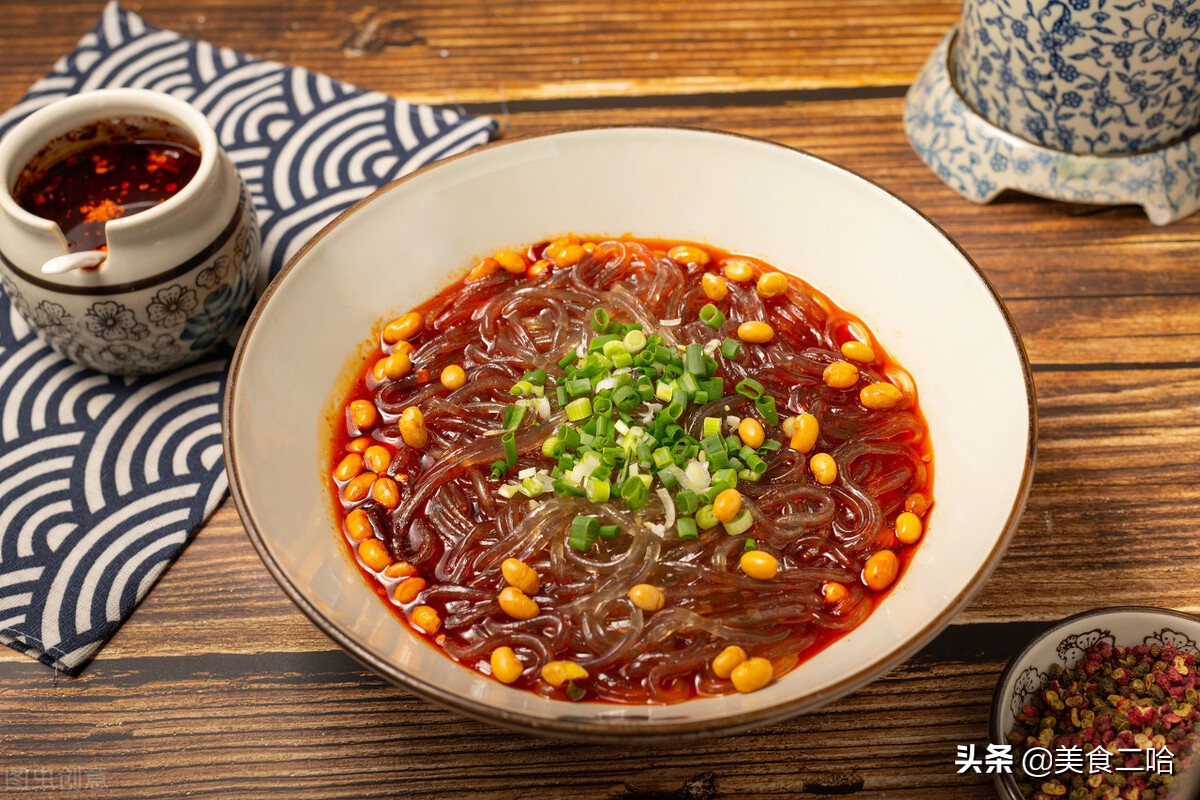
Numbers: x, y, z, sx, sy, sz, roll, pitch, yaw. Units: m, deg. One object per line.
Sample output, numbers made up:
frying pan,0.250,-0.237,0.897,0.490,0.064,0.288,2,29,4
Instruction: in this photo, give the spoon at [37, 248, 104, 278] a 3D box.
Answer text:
spoon,-2.264,-0.586,5.040,0.210,0.036,0.050,-27,79,-35
